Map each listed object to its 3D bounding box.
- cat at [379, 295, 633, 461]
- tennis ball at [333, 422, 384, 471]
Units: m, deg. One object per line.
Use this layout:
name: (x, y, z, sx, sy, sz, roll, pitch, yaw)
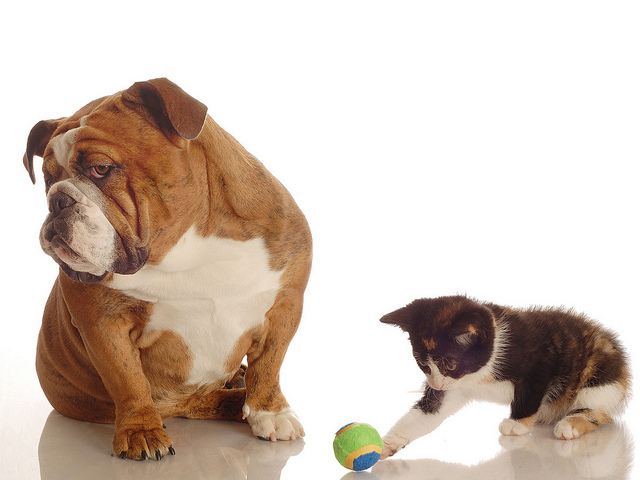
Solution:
cat: (1.262, 0.839, 4.991, 1.669, 0.870, 0.662, 0, 5, -1)
tennis ball: (0.221, 1.201, 4.388, 0.278, 0.252, 0.176, 0, 5, -5)
